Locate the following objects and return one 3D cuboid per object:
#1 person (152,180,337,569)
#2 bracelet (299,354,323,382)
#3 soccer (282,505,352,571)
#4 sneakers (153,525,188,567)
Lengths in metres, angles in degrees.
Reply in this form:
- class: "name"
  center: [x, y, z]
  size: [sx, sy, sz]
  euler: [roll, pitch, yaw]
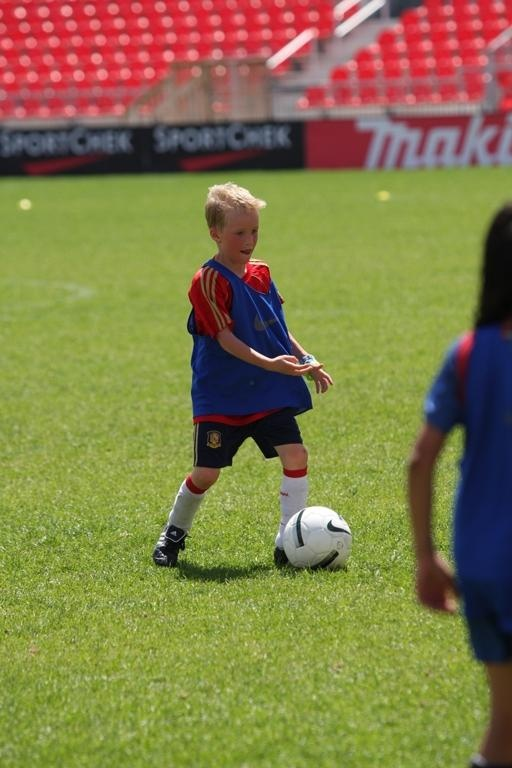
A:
- class: "person"
  center: [-0.068, -0.021, 3.109]
  size: [0.647, 1.355, 0.545]
  euler: [0, 15, 16]
- class: "bracelet"
  center: [0.192, -0.059, 3.070]
  size: [0.078, 0.095, 0.036]
  euler: [5, 8, 31]
- class: "soccer"
  center: [0.224, 0.561, 3.133]
  size: [0.230, 0.234, 0.223]
  euler: [8, -11, 35]
- class: "sneakers"
  center: [-0.308, 0.598, 3.214]
  size: [0.075, 0.085, 0.204]
  euler: [16, 8, 0]
